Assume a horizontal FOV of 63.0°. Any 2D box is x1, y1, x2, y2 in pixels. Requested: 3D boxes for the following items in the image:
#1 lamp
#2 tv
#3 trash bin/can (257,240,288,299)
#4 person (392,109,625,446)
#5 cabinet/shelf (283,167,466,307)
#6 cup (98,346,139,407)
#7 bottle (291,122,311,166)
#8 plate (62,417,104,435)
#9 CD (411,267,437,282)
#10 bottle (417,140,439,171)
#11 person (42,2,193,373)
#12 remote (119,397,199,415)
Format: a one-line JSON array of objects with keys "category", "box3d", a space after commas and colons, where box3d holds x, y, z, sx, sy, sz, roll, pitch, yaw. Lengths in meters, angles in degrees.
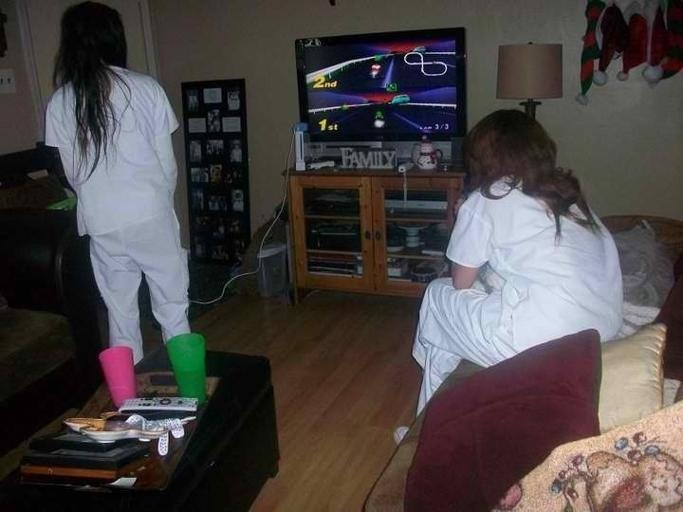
[{"category": "lamp", "box3d": [1.107, -0.926, 3.277, 0.366, 0.606, 0.379, -4, 18, 1]}, {"category": "tv", "box3d": [0.293, -1.127, 3.644, 1.109, 0.673, 0.083, 4, 21, 18]}, {"category": "trash bin/can", "box3d": [-0.472, 0.103, 3.867, 0.281, 0.394, 0.331, -1, 13, -2]}, {"category": "person", "box3d": [0.678, 0.185, 2.276, 0.621, 1.442, 0.861, 0, 9, -28]}, {"category": "cabinet/shelf", "box3d": [0.269, -0.152, 3.733, 1.161, 0.908, 0.413, 4, 19, 21]}, {"category": "cup", "box3d": [-0.744, 0.409, 1.891, 0.129, 0.205, 0.127, 2, -14, 1]}, {"category": "bottle", "box3d": [-0.271, -0.739, 3.802, 0.102, 0.323, 0.070, -2, 7, -16]}, {"category": "plate", "box3d": [-0.776, 0.509, 1.684, 0.068, 0.017, 0.068, 1, 7, -22]}, {"category": "CD", "box3d": [0.527, 0.126, 3.600, 0.084, 0.043, 0.120, 6, 18, 15]}, {"category": "bottle", "box3d": [0.535, -0.631, 3.483, 0.179, 0.176, 0.125, -4, 8, -32]}, {"category": "person", "box3d": [-1.042, -0.283, 2.644, 0.588, 1.710, 0.274, -8, 14, -19]}, {"category": "remote", "box3d": [-0.583, 0.478, 1.801, 0.174, 0.030, 0.087, 5, 2, -7]}]
